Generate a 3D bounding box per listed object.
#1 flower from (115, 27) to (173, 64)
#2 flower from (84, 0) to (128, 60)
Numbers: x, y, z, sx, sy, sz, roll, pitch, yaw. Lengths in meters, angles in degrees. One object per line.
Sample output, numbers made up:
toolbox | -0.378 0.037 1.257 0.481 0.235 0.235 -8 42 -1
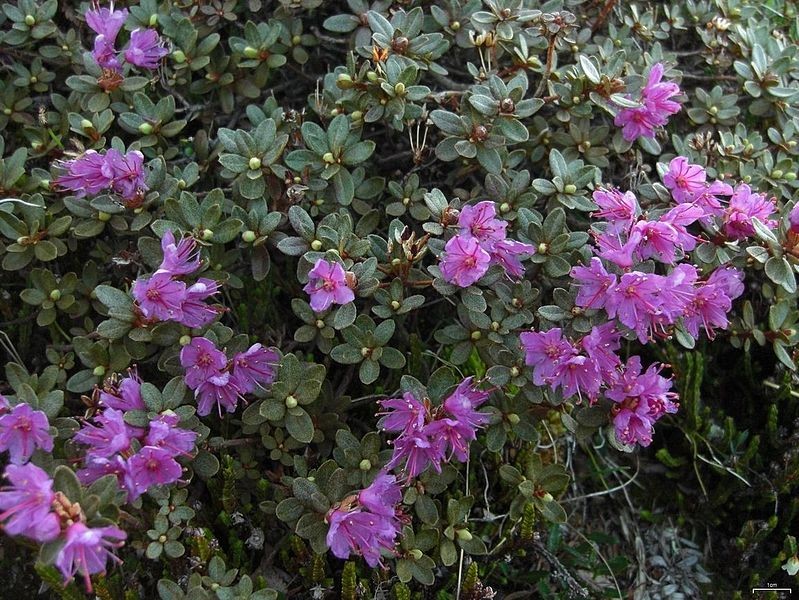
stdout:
flower | -1.136 -1.130 3.394 0.088 0.184 0.169 19 3 32
flower | -1.330 -1.240 3.439 0.163 0.219 0.397 -5 36 -21
